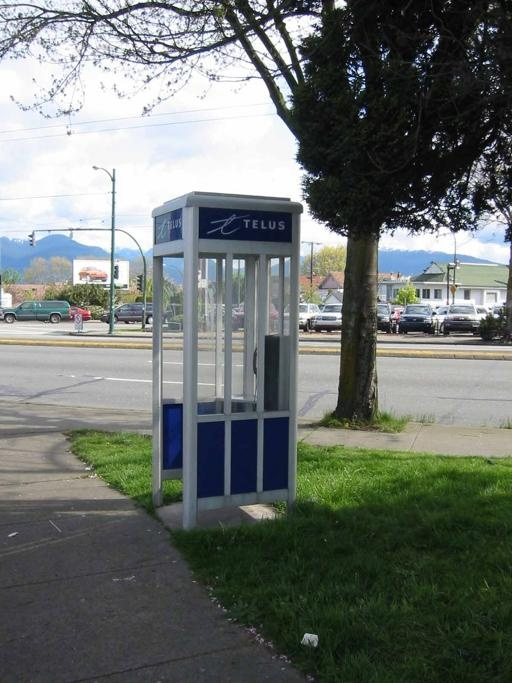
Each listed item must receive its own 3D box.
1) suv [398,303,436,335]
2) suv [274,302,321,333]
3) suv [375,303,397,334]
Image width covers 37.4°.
[{"bbox_3d":[8.661,-1.177,40.577,1.864,1.608,2.629,0,3,16],"label":"suv"},{"bbox_3d":[2.873,-1.288,40.473,1.502,1.411,2.959,0,1,15],"label":"suv"},{"bbox_3d":[7.039,-1.296,41.385,1.492,1.496,2.934,-1,-3,9],"label":"suv"}]
